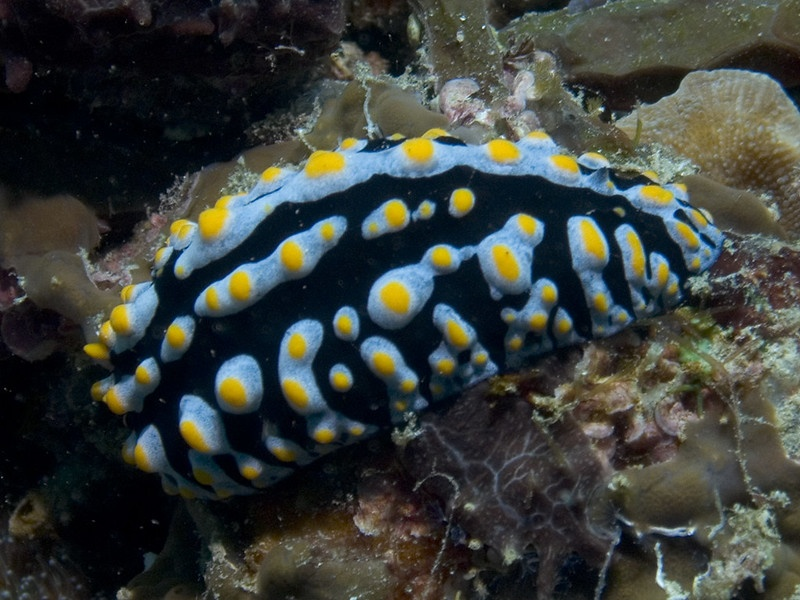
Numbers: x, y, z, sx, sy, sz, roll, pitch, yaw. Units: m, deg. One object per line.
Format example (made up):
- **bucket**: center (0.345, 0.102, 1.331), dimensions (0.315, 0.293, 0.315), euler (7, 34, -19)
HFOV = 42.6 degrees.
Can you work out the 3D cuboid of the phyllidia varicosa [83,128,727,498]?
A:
- **phyllidia varicosa**: center (-0.014, -0.113, 4.731), dimensions (2.925, 1.126, 1.508), euler (-18, 48, 5)
